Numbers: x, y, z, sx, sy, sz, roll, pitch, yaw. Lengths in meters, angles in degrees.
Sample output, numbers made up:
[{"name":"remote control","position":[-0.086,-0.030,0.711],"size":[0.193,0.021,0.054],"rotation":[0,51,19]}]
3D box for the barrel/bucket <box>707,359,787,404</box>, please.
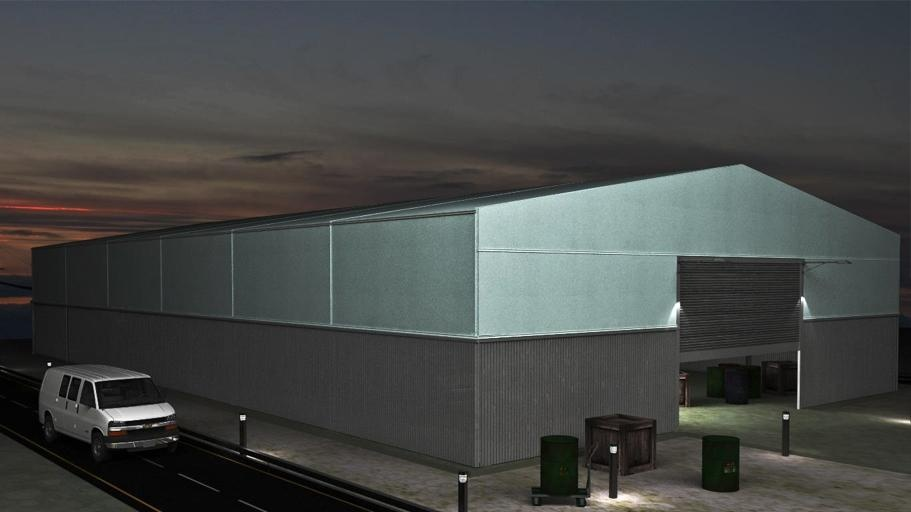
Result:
[{"name":"barrel/bucket","position":[12.278,5.380,26.212],"size":[1.916,0.806,2.576],"rotation":[-1,-1,37]}]
